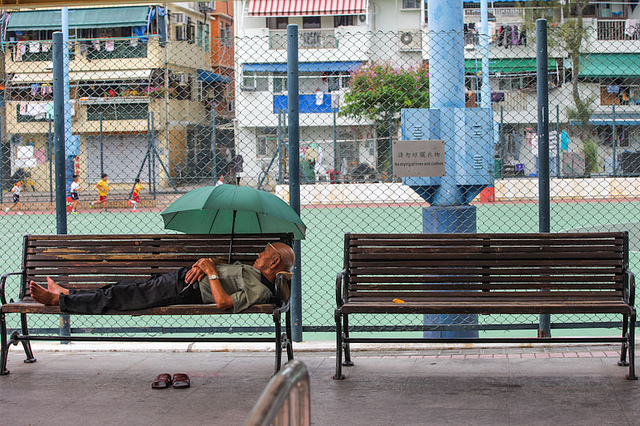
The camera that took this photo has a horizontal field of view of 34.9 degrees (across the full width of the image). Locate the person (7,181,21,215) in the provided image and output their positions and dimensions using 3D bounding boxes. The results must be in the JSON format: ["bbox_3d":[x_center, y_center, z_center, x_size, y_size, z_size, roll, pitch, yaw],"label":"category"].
[{"bbox_3d":[-9.034,-0.445,30.209,0.375,0.765,1.279,-4,7,-18],"label":"person"}]

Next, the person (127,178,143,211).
[{"bbox_3d":[-5.456,-0.634,30.198,0.413,0.977,2.262,-3,6,-11],"label":"person"}]

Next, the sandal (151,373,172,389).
[{"bbox_3d":[-2.003,2.138,13.024,0.166,0.139,0.404,1,2,-4],"label":"sandal"}]

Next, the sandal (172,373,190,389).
[{"bbox_3d":[-1.761,2.125,13.013,0.214,0.166,0.164,-3,6,-8],"label":"sandal"}]

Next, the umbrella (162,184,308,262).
[{"bbox_3d":[-1.162,0.082,13.601,1.682,1.203,1.585,2,-1,20],"label":"umbrella"}]
